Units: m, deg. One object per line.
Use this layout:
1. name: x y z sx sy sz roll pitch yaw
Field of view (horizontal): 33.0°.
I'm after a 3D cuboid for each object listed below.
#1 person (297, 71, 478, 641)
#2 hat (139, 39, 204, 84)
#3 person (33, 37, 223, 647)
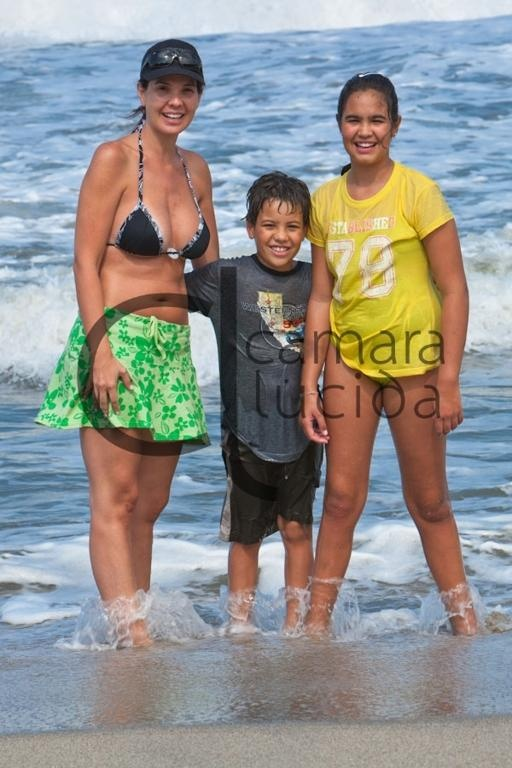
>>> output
1. person: 0.414 -0.051 2.756 0.561 1.778 0.457 -2 20 2
2. hat: -0.277 -1.028 2.792 0.155 0.088 0.181 1 1 -5
3. person: -0.421 -0.160 2.805 0.462 1.820 0.867 4 20 17
